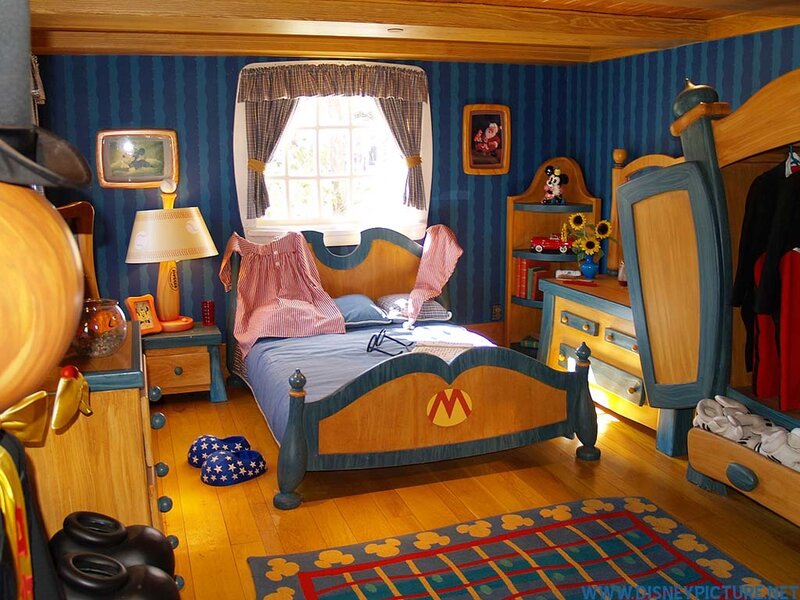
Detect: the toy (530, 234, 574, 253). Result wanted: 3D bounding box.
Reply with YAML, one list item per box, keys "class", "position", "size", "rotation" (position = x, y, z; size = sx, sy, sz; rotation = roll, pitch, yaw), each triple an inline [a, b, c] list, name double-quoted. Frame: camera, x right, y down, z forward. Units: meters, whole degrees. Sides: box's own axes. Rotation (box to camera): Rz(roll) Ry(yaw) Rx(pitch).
- class: "toy"
  position: [1.337, -0.512, 5.316]
  size: [0.279, 0.122, 0.158]
  rotation: [4, 9, 11]

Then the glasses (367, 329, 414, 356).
- class: "glasses"
  position: [-0.100, 0.304, 4.224]
  size: [0.212, 0.117, 0.205]
  rotation: [-1, 14, -15]

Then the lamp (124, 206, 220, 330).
- class: "lamp"
  position: [-1.806, -0.236, 4.665]
  size: [0.734, 0.868, 0.738]
  rotation: [-1, 0, 26]

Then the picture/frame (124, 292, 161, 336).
- class: "picture/frame"
  position: [-1.797, 0.093, 4.187]
  size: [0.220, 0.263, 0.069]
  rotation: [-14, -18, -44]

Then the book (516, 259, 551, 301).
- class: "book"
  position: [1.183, -0.183, 5.331]
  size: [0.196, 0.316, 0.356]
  rotation: [7, 10, 39]

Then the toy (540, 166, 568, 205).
- class: "toy"
  position: [1.393, -1.050, 5.409]
  size: [0.210, 0.341, 0.384]
  rotation: [2, 12, 13]

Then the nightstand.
- class: "nightstand"
  position: [-1.735, 0.511, 4.715]
  size: [0.649, 0.513, 0.502]
  rotation: [-3, 9, -14]

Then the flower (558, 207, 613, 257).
- class: "flower"
  position: [1.542, -0.563, 4.996]
  size: [0.382, 0.347, 0.446]
  rotation: [4, 5, 37]
